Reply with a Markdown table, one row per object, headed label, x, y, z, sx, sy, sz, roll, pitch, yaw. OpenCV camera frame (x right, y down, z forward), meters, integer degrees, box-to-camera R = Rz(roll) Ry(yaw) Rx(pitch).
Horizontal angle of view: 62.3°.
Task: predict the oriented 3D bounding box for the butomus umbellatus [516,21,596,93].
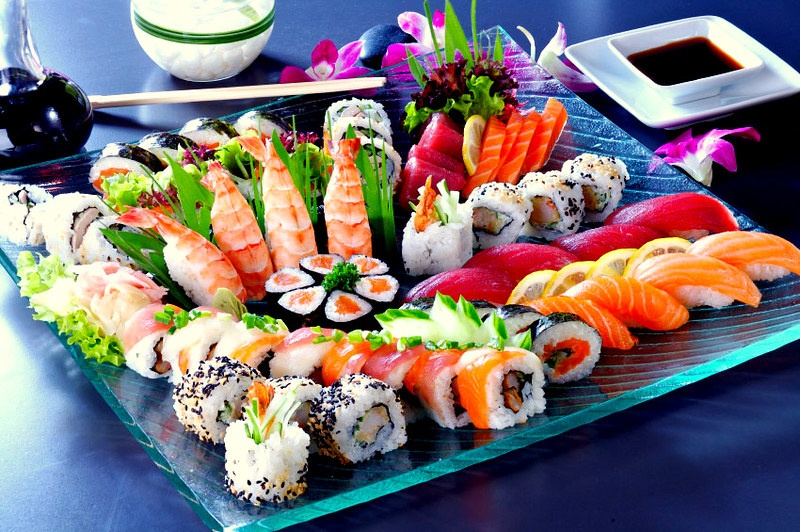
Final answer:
| label | x | y | z | sx | sy | sz | roll | pitch | yaw |
| --- | --- | --- | --- | --- | --- | --- | --- | --- | --- |
| butomus umbellatus | 0.990 | -1.285 | 4.174 | 0.524 | 0.171 | 0.481 | 40 | 25 | 6 |
